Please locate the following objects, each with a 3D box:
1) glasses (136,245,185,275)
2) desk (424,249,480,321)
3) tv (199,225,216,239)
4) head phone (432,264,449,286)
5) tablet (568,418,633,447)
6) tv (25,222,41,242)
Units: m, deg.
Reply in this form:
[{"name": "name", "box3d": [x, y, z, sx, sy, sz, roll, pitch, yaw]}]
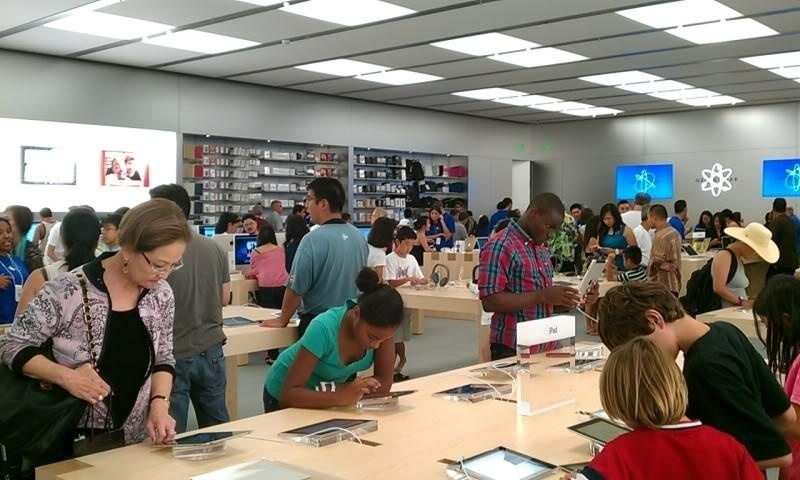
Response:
[{"name": "glasses", "box3d": [-1.076, 0.076, 2.424, 0.171, 0.063, 0.136, 49, 26, 18]}, {"name": "desk", "box3d": [0.756, 0.597, 7.738, 0.897, 0.294, 1.337, 2, 4, 30]}, {"name": "tv", "box3d": [-3.269, -0.147, 9.096, 0.273, 0.181, 0.145, 0, -3, 12]}, {"name": "head phone", "box3d": [0.646, 0.540, 8.309, 0.257, 0.309, 0.122, 2, -7, 1]}, {"name": "tablet", "box3d": [0.929, 0.873, 2.472, 0.255, 0.060, 0.198, -6, 15, -37]}, {"name": "tv", "box3d": [-5.347, -0.116, 7.799, 0.116, 0.284, 0.216, 21, 6, 22]}]
